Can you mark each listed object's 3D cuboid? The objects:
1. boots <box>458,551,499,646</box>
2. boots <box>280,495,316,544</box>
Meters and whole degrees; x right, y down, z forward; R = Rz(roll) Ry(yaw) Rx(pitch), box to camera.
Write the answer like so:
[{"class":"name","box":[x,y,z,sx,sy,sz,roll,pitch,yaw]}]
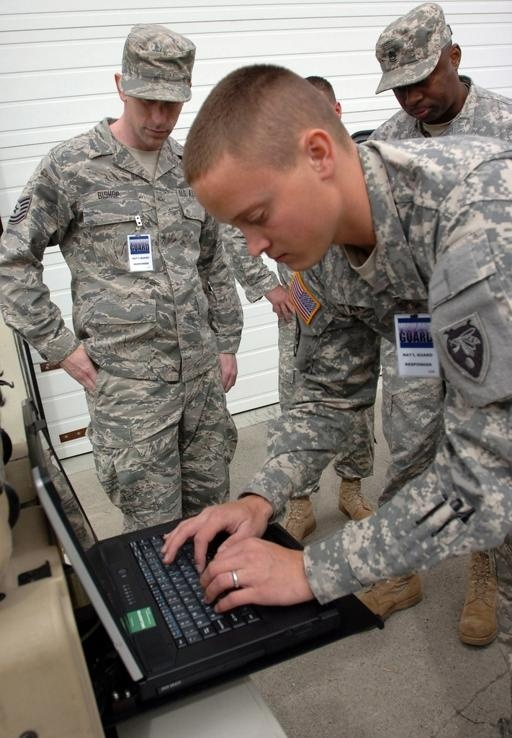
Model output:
[{"class":"boots","box":[0.699,0.717,1.873,0.101,0.154,0.294,-3,14,24]},{"class":"boots","box":[0.173,0.620,2.485,0.077,0.154,0.231,-6,-2,18]}]
